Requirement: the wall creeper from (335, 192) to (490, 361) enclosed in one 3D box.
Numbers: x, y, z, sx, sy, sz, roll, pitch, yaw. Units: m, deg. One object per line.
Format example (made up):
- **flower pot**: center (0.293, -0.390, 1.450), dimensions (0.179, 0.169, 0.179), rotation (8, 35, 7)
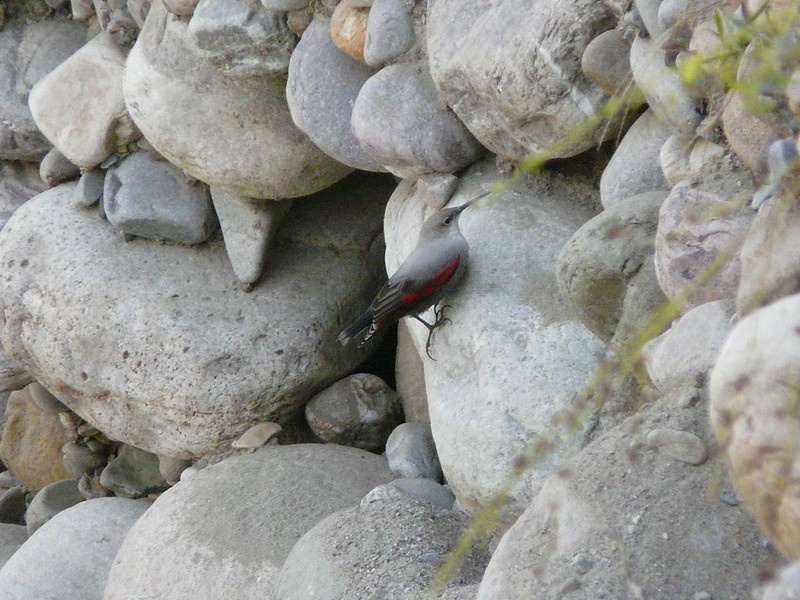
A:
- **wall creeper**: center (0.072, -0.111, 7.304), dimensions (0.736, 0.330, 0.701), rotation (-12, -71, -4)
